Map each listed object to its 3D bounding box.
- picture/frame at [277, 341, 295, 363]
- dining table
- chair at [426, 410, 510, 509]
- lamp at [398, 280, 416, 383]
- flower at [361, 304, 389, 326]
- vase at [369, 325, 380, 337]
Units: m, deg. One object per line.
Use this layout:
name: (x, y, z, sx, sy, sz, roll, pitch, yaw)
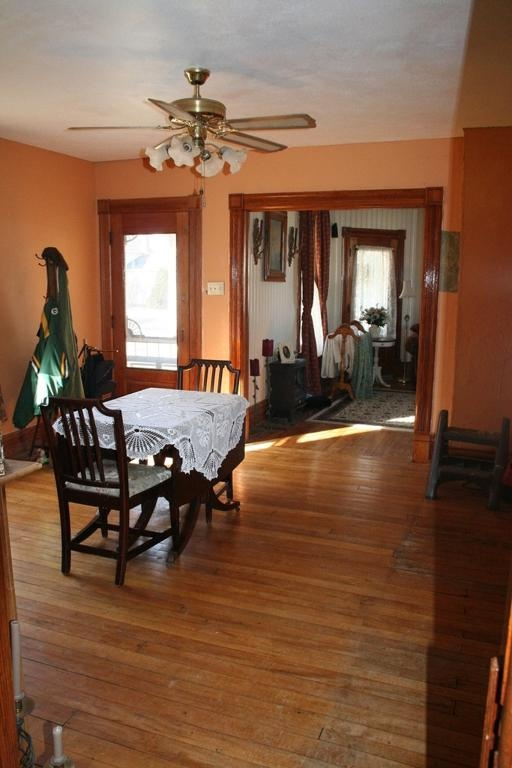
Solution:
picture/frame: (0.339, -0.372, 6.579, 0.198, 0.201, 0.329, 0, 7, 1)
dining table: (-0.597, 0.441, 3.336, 0.889, 0.673, 1.352, 0, 7, 10)
chair: (1.378, 0.507, 3.710, 0.504, 0.640, 0.952, 2, 8, 16)
lamp: (2.385, -0.823, 9.036, 0.281, 1.624, 0.528, 2, 8, 14)
flower: (1.802, -1.027, 8.708, 0.336, 0.348, 0.328, 3, 16, 33)
vase: (1.790, -0.805, 8.671, 0.176, 0.210, 0.172, -1, 5, 9)
